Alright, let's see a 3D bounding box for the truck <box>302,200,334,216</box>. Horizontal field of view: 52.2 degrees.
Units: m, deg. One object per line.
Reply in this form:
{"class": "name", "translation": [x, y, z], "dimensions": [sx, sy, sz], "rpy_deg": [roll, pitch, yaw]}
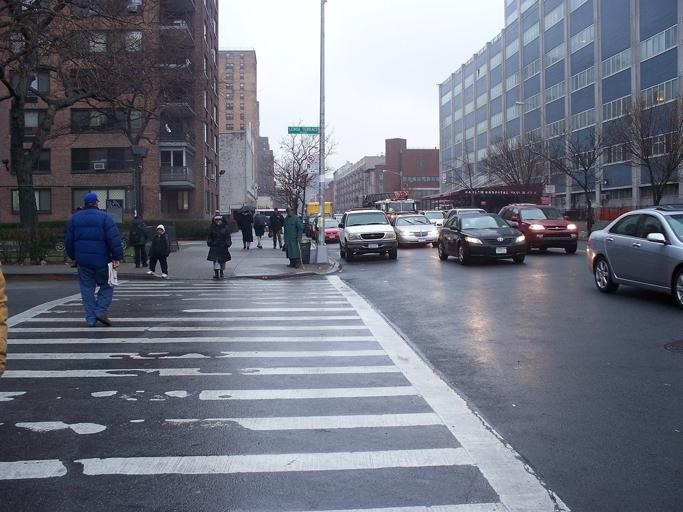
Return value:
{"class": "truck", "translation": [-2.211, -4.404, 64.531], "dimensions": [2.423, 2.095, 3.916], "rpy_deg": [-1, 4, 1]}

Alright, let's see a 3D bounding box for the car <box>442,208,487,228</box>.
{"class": "car", "translation": [4.318, -1.551, 24.735], "dimensions": [1.042, 0.937, 1.835], "rpy_deg": [-1, 0, -12]}

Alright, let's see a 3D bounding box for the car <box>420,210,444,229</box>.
{"class": "car", "translation": [5.455, -2.126, 40.029], "dimensions": [0.851, 0.771, 1.892], "rpy_deg": [-1, 1, -6]}

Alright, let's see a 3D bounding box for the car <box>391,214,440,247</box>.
{"class": "car", "translation": [3.307, -1.212, 32.155], "dimensions": [1.119, 0.923, 2.674], "rpy_deg": [-1, 0, -6]}

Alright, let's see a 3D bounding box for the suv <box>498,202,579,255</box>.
{"class": "suv", "translation": [7.342, -1.008, 25.606], "dimensions": [1.496, 1.388, 3.153], "rpy_deg": [0, -1, -11]}

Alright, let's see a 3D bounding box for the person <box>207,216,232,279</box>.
{"class": "person", "translation": [-3.508, -0.286, 19.677], "dimensions": [0.636, 1.822, 1.327], "rpy_deg": [-2, 6, -11]}

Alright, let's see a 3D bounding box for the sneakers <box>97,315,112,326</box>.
{"class": "sneakers", "translation": [-3.858, 1.061, 11.245], "dimensions": [0.318, 0.142, 0.116], "rpy_deg": [28, 23, 32]}

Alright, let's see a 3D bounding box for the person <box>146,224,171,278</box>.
{"class": "person", "translation": [-5.396, -0.180, 20.201], "dimensions": [0.612, 1.514, 2.001], "rpy_deg": [-2, 7, -16]}

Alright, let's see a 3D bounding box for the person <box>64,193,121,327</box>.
{"class": "person", "translation": [-4.031, 0.069, 11.237], "dimensions": [0.846, 2.146, 0.932], "rpy_deg": [-3, 7, -23]}

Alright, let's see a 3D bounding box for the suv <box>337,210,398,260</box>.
{"class": "suv", "translation": [0.969, -0.739, 26.269], "dimensions": [1.988, 1.811, 2.383], "rpy_deg": [-1, 6, -6]}

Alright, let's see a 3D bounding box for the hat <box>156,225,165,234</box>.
{"class": "hat", "translation": [-5.093, -0.769, 19.392], "dimensions": [0.210, 0.276, 0.297], "rpy_deg": [1, -14, -11]}

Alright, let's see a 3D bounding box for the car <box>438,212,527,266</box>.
{"class": "car", "translation": [4.447, -0.564, 22.585], "dimensions": [1.777, 1.536, 3.083], "rpy_deg": [-3, 7, -21]}

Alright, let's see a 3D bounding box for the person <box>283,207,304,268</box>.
{"class": "person", "translation": [-1.563, -0.570, 22.054], "dimensions": [0.537, 1.930, 1.242], "rpy_deg": [-1, 6, -3]}
